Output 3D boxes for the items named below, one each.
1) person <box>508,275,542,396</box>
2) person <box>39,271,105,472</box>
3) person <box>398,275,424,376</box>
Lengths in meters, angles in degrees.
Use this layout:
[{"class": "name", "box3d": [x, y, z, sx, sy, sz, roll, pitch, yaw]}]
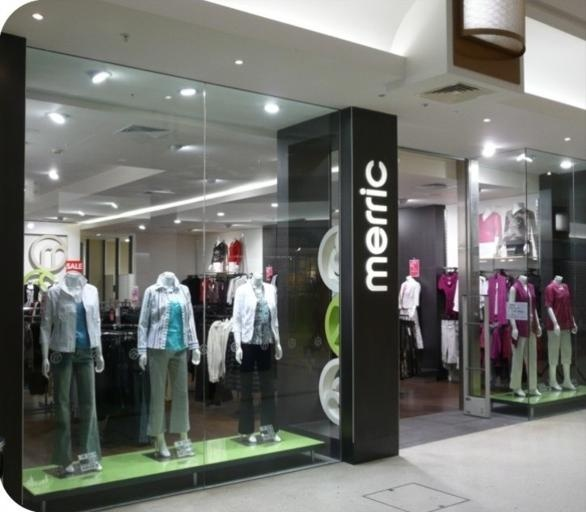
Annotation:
[{"class": "person", "box3d": [2.862, 0.996, 6.179, 0.335, 1.525, 0.302, -2, -5, 20]}, {"class": "person", "box3d": [-1.469, 0.776, 3.317, 0.397, 1.347, 0.106, 3, -6, -31]}, {"class": "person", "box3d": [2.049, 1.258, 8.937, 0.631, 1.838, 0.384, 5, -7, -42]}]
